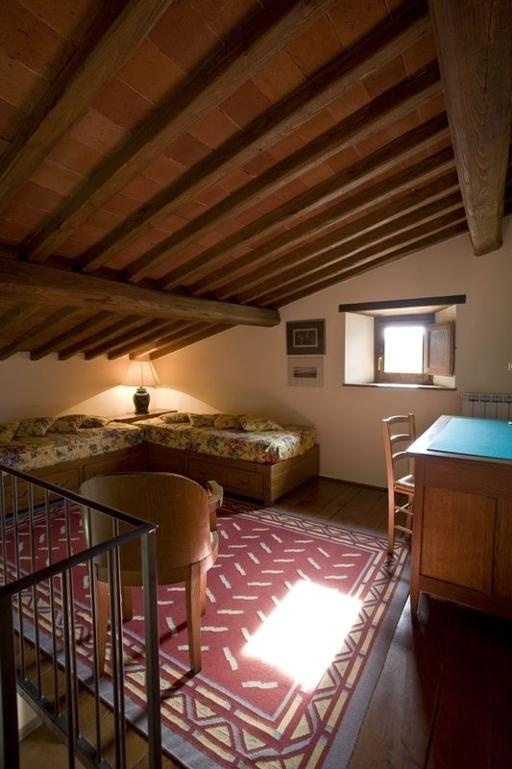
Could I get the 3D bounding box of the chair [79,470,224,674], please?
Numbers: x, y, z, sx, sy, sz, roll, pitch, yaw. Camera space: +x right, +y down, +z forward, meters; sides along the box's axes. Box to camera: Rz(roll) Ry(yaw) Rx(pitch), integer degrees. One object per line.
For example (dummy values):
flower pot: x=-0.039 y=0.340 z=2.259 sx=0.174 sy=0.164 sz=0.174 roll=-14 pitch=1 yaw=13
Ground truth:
chair: x=-0.405 y=0.686 z=2.232 sx=0.687 sy=0.986 sz=0.737 roll=1 pitch=6 yaw=-4

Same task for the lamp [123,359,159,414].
lamp: x=-1.312 y=0.023 z=5.659 sx=0.372 sy=0.630 sz=0.790 roll=-2 pitch=6 yaw=-13

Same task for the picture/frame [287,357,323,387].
picture/frame: x=0.474 y=-0.135 z=4.834 sx=0.405 sy=0.290 sz=0.024 roll=5 pitch=8 yaw=40
